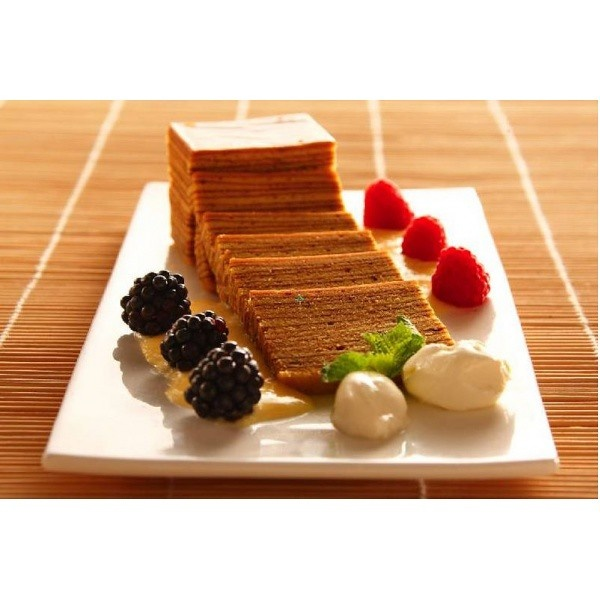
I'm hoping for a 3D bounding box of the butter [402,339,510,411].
[{"bbox_3d":[0.453,0.225,1.979,0.301,0.136,0.238,5,20,10],"label":"butter"}]
